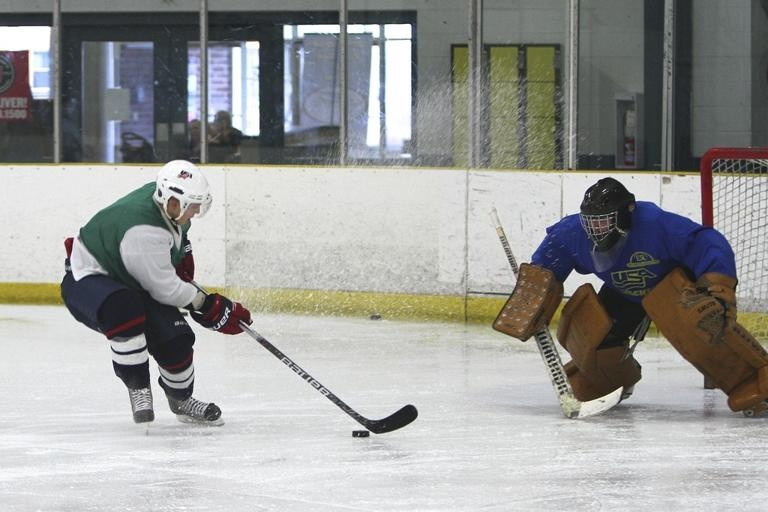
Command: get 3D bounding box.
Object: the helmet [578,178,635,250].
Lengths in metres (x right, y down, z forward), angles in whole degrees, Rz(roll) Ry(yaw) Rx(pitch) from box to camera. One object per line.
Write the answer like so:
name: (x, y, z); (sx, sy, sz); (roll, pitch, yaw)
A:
helmet: (1.226, -0.228, 8.549); (0.296, 0.408, 0.118); (0, 8, 7)

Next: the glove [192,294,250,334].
glove: (-0.883, 0.332, 8.394); (0.293, 0.131, 0.207); (26, -21, -10)

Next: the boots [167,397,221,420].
boots: (-1.025, 0.826, 8.460); (0.329, 0.132, 0.114); (0, 29, 20)

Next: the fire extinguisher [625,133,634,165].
fire extinguisher: (1.723, -0.751, 10.920); (0.078, 0.205, 0.096); (0, 8, 7)

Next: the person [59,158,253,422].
person: (-1.257, 0.209, 8.396); (0.954, 1.437, 0.361); (-2, 8, -11)

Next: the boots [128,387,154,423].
boots: (-1.333, 0.793, 8.405); (0.084, 0.101, 0.258); (-13, 43, -10)

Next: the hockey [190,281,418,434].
hockey: (-0.465, 0.651, 9.446); (1.202, 0.142, 0.137); (37, 15, 10)
